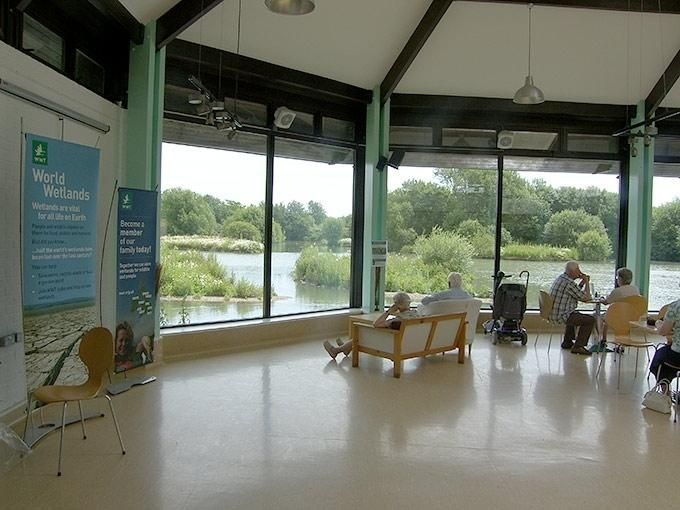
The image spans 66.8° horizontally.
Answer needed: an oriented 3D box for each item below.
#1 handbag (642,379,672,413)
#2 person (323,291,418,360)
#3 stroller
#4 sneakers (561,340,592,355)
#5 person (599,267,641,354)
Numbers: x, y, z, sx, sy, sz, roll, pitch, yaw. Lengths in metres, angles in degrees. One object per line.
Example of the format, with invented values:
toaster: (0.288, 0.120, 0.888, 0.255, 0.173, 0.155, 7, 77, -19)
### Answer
handbag: (3.997, 1.796, 6.500, 0.109, 0.358, 0.275, 9, 2, -41)
person: (0.353, 1.133, 8.149, 1.732, 1.256, 0.742, -11, -10, 38)
stroller: (3.223, 0.940, 9.879, 0.682, 1.398, 1.147, 2, 1, -3)
sneakers: (4.168, 1.660, 9.137, 0.433, 0.208, 0.156, 1, -1, 22)
person: (4.805, 0.938, 9.014, 0.589, 1.466, 0.726, 1, 8, -17)
